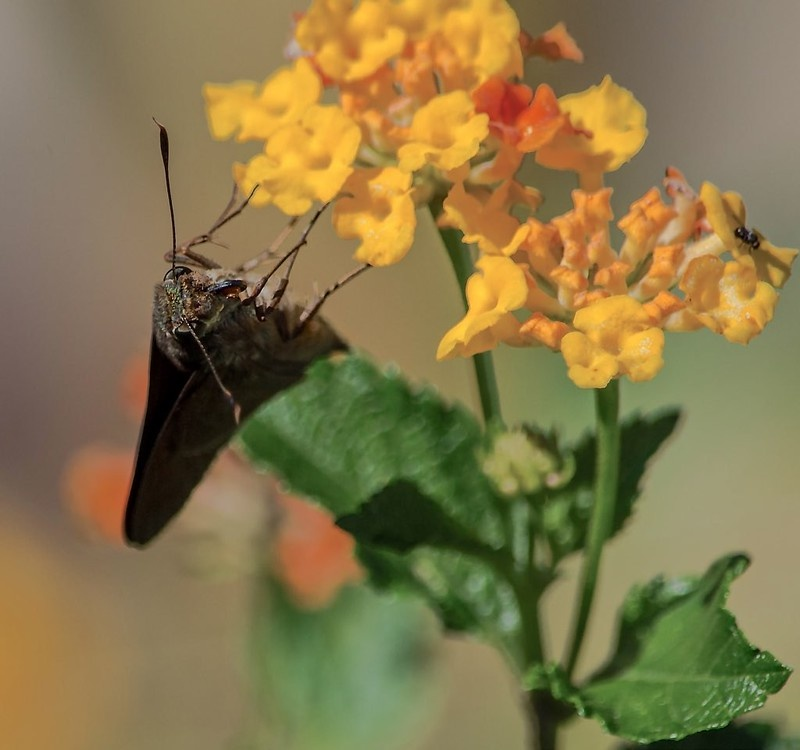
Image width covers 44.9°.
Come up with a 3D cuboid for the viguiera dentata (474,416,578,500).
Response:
[{"bbox_3d":[0.080,0.052,0.623,0.061,0.019,0.068,-19,41,-10],"label":"viguiera dentata"}]

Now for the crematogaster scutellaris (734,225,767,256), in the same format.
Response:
[{"bbox_3d":[0.203,-0.079,0.572,0.016,0.006,0.019,44,38,9],"label":"crematogaster scutellaris"}]

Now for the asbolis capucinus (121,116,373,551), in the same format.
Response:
[{"bbox_3d":[-0.152,0.002,0.658,0.169,0.171,0.211,35,64,2],"label":"asbolis capucinus"}]
